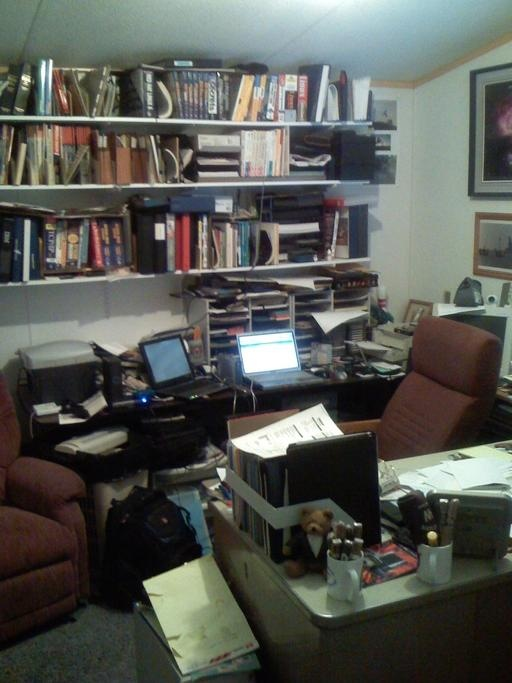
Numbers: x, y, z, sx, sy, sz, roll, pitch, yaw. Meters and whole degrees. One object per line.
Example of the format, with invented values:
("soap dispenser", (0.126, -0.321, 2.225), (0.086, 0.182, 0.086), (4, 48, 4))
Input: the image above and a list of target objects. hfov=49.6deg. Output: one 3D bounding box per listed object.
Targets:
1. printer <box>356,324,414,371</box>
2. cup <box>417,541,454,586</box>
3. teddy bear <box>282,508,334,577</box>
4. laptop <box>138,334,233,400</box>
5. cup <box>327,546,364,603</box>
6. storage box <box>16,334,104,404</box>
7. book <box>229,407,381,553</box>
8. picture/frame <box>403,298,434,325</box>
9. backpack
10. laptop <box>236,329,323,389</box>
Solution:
("printer", (0.801, 0.036, 3.340), (0.284, 0.104, 0.208), (-14, 25, -31))
("cup", (0.370, 0.458, 1.155), (0.075, 0.072, 0.063), (-3, -4, 23))
("teddy bear", (0.115, 0.424, 1.161), (0.107, 0.141, 0.089), (1, 4, 3))
("laptop", (-0.365, 0.129, 2.857), (0.381, 0.249, 0.345), (11, 14, 41))
("cup", (0.175, 0.464, 1.074), (0.059, 0.082, 0.095), (2, 4, -8))
("storage box", (-0.963, 0.131, 2.713), (0.352, 0.259, 0.251), (-6, 11, -33))
("book", (0.118, 0.280, 1.352), (0.302, 0.293, 0.292), (-15, 0, -28))
("picture/frame", (1.044, -0.194, 3.537), (0.014, 0.198, 0.200), (23, -18, -22))
("backpack", (-0.460, 0.869, 2.354), (0.428, 0.371, 0.366), (-10, 12, -20))
("laptop", (0.107, 0.080, 3.075), (0.372, 0.344, 0.222), (-2, -2, -27))
